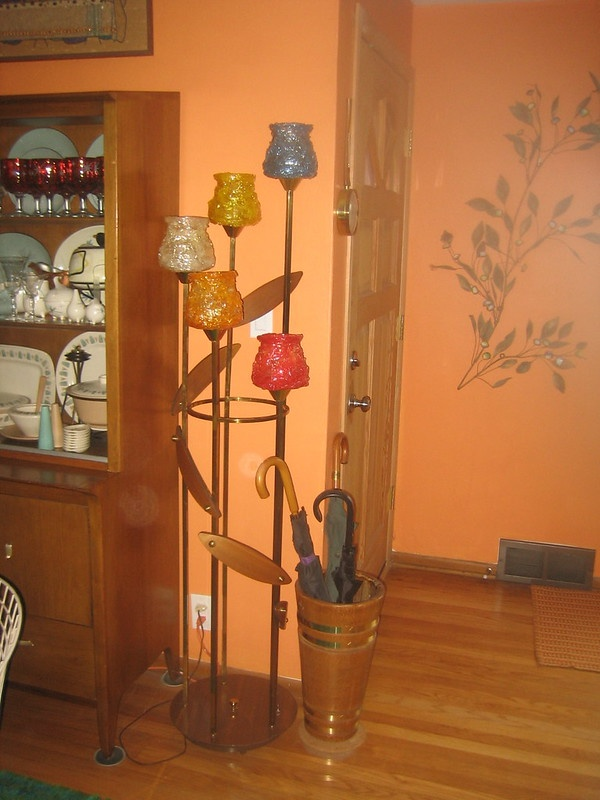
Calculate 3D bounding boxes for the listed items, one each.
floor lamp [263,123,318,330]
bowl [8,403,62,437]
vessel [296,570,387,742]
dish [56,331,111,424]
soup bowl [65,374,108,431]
[{"bbox_3d":[-0.021,-0.425,1.762,0.124,0.495,0.184,3,11,11],"label":"floor lamp"},{"bbox_3d":[-0.779,0.060,2.043,0.126,0.063,0.122,3,17,-1],"label":"bowl"},{"bbox_3d":[0.099,0.747,1.985,0.256,0.363,0.243,-1,-7,39],"label":"vessel"},{"bbox_3d":[-0.668,-0.061,2.162,0.291,0.273,0.038,-13,-10,30],"label":"dish"},{"bbox_3d":[-0.599,0.007,2.030,0.163,0.104,0.155,2,15,0],"label":"soup bowl"}]
